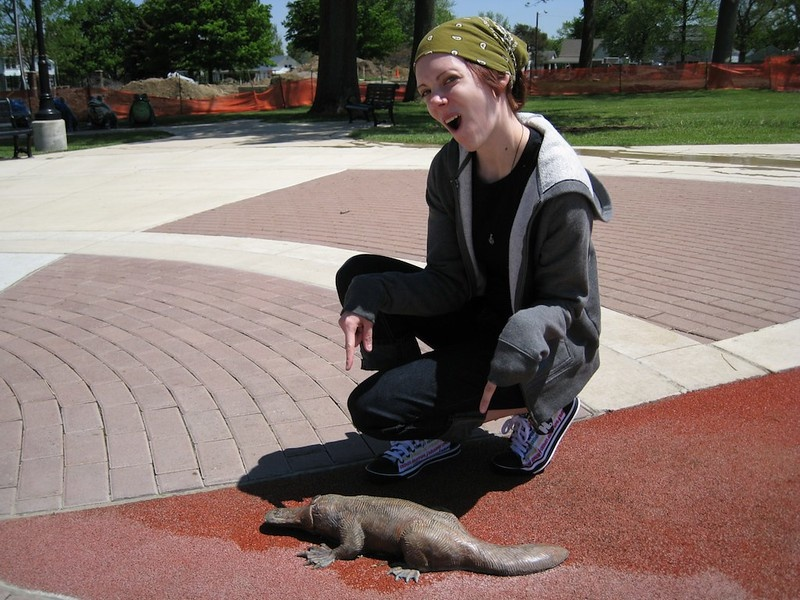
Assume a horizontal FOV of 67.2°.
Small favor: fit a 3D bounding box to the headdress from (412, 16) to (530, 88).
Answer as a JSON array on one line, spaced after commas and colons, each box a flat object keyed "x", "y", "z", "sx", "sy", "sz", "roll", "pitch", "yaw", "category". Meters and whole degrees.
[{"x": 0.314, "y": -1.092, "z": 2.595, "sx": 0.481, "sy": 0.212, "sz": 0.284, "roll": 2, "pitch": 10, "yaw": -23, "category": "headdress"}]

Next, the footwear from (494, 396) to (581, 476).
[{"x": 0.658, "y": 0.633, "z": 2.968, "sx": 0.537, "sy": 0.216, "sz": 0.196, "roll": -37, "pitch": 17, "yaw": -7, "category": "footwear"}]

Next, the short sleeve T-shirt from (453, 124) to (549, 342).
[{"x": 0.439, "y": -0.269, "z": 2.767, "sx": 0.588, "sy": 0.777, "sz": 0.401, "roll": 2, "pitch": -5, "yaw": 24, "category": "short sleeve T-shirt"}]

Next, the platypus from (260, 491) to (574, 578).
[{"x": -0.001, "y": 0.898, "z": 2.414, "sx": 1.048, "sy": 0.169, "sz": 0.363, "roll": 1, "pitch": 3, "yaw": 12, "category": "platypus"}]

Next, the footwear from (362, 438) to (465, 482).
[{"x": 0.048, "y": 0.748, "z": 2.926, "sx": 0.512, "sy": 0.145, "sz": 0.151, "roll": -4, "pitch": 14, "yaw": -23, "category": "footwear"}]
